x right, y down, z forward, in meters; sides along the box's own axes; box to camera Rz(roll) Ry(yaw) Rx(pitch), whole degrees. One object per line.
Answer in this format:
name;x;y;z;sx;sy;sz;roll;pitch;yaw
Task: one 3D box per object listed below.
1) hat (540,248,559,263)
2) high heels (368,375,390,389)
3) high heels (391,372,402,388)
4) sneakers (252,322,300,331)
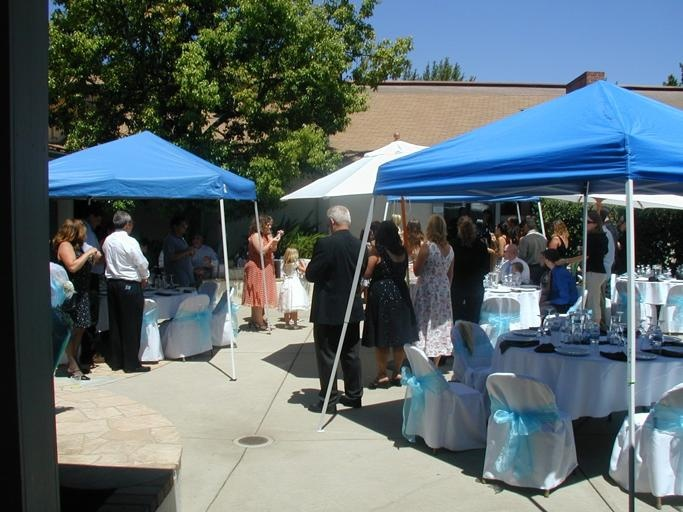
hat;2.852;-0.004;8.785;0.156;0.208;0.205;-12;38;-28
high heels;0.441;1.448;7.422;0.269;0.127;0.106;0;-3;13
high heels;0.654;1.439;7.477;0.164;0.184;0.130;-11;-9;39
sneakers;-1.090;1.172;10.742;0.516;0.150;0.127;-2;1;-15
